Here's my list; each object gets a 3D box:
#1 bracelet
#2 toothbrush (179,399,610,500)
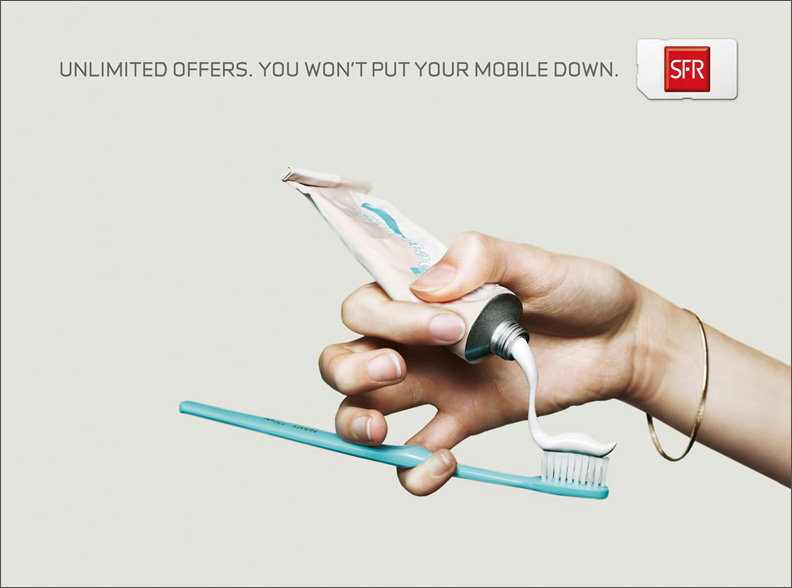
[{"bbox_3d":[0.868,0.279,2.977,0.190,0.467,0.451,0,-1,15],"label":"bracelet"},{"bbox_3d":[0.035,0.480,2.990,1.412,0.080,0.128,13,33,-17],"label":"toothbrush"}]
